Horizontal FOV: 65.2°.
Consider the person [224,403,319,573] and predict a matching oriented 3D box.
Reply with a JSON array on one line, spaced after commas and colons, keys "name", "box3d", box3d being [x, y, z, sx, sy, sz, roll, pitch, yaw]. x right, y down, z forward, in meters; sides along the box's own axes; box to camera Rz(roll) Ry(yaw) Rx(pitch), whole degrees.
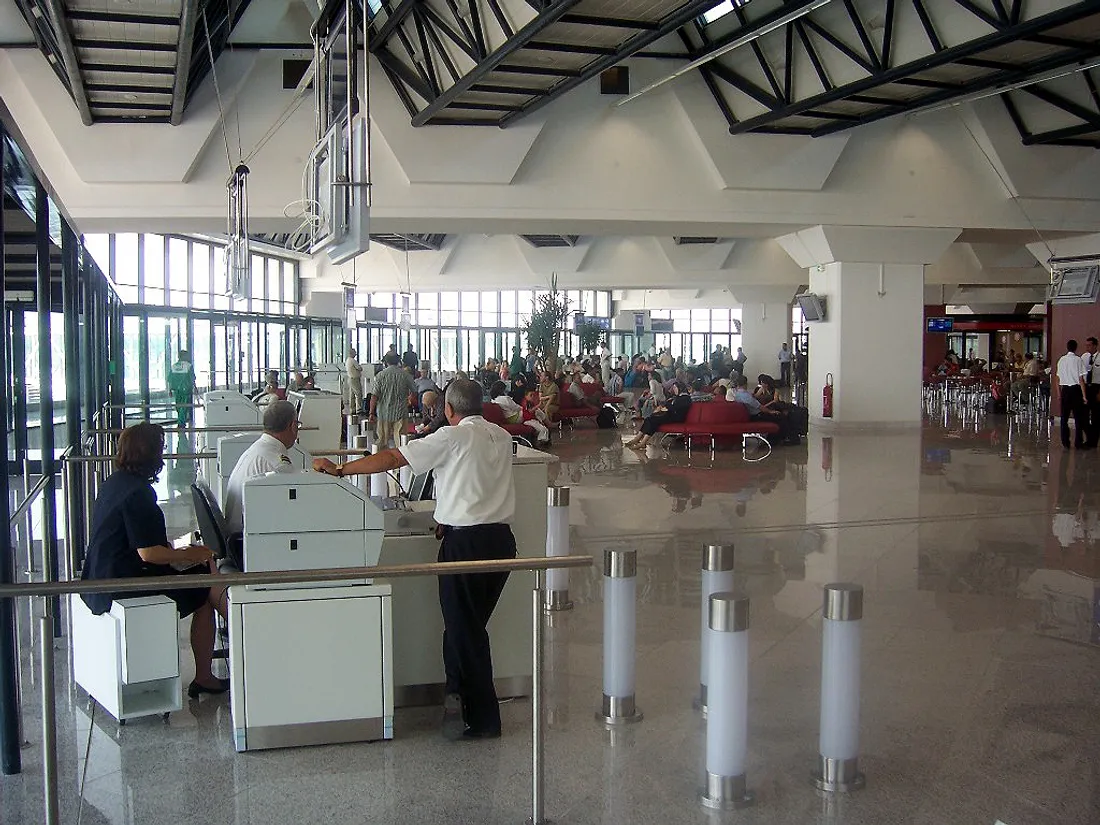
[{"name": "person", "box3d": [-1.943, 0.457, 5.784, 0.498, 0.910, 0.684, -3, 2, -21]}]

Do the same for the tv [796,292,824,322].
[{"name": "tv", "box3d": [6.140, -2.428, 20.157, 0.571, 0.771, 0.625, -5, -7, -8]}]

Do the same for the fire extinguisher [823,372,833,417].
[{"name": "fire extinguisher", "box3d": [6.451, -0.396, 19.941, 0.189, 0.966, 0.370, -2, 1, -8]}]

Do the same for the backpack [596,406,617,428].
[{"name": "backpack", "box3d": [1.461, 0.109, 22.112, 0.509, 0.583, 0.403, -4, 3, 3]}]

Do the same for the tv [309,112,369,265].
[{"name": "tv", "box3d": [-1.854, -1.970, 7.526, 0.467, 1.602, 1.656, 0, -2, -18]}]

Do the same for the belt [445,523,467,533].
[{"name": "belt", "box3d": [-0.561, 0.684, 5.105, 0.058, 0.042, 0.185, -4, 2, -42]}]

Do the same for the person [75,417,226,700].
[{"name": "person", "box3d": [-2.542, 0.942, 5.463, 0.857, 1.581, 0.690, -3, 2, -20]}]

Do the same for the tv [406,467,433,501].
[{"name": "tv", "box3d": [-1.088, 0.621, 7.170, 0.067, 0.291, 0.285, 16, -15, -36]}]

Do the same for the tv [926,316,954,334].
[{"name": "tv", "box3d": [19.133, -4.333, 41.933, 1.716, 0.729, 0.798, -4, 2, -41]}]

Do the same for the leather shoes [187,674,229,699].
[{"name": "leather shoes", "box3d": [-2.196, 1.753, 5.566, 0.295, 0.129, 0.109, -6, 8, -21]}]

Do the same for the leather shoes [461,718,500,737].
[{"name": "leather shoes", "box3d": [-0.399, 1.836, 5.006, 0.223, 0.055, 0.102, -2, 2, -1]}]
